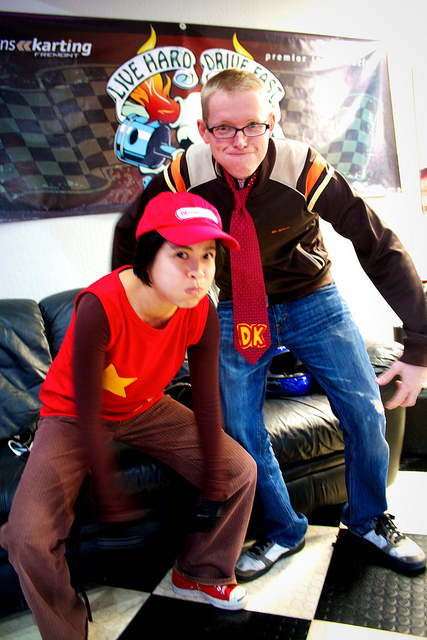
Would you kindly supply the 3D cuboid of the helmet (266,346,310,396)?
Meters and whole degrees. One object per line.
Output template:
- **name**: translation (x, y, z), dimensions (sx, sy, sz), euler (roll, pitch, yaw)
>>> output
- **helmet**: translation (0.309, 0.201, 1.853), dimensions (0.161, 0.082, 0.226), euler (-7, 13, 8)

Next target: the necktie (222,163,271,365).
- **necktie**: translation (0.089, -0.129, 1.181), dimensions (0.106, 0.558, 0.024), euler (-9, 23, -11)
